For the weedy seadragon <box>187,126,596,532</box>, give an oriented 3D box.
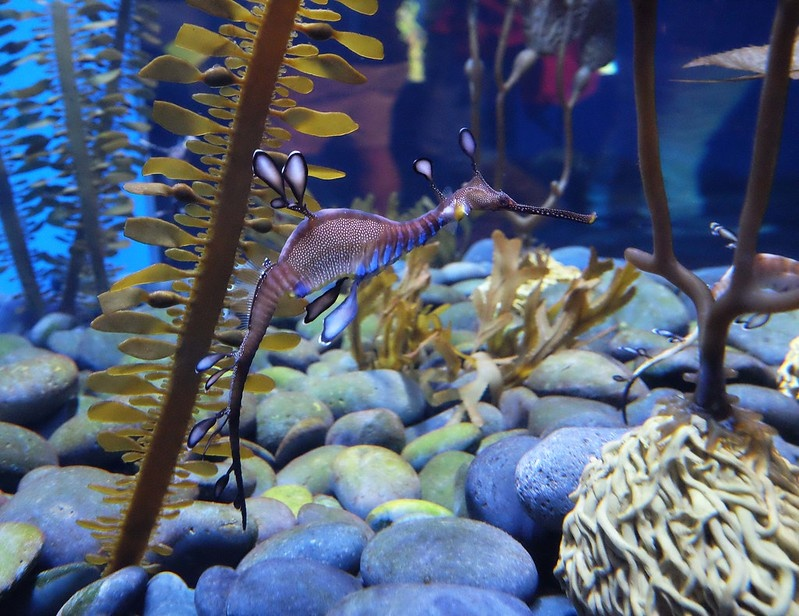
[{"bbox_3d":[-0.118,-0.007,3.697,1.836,1.205,0.615,-30,6,12],"label":"weedy seadragon"}]
